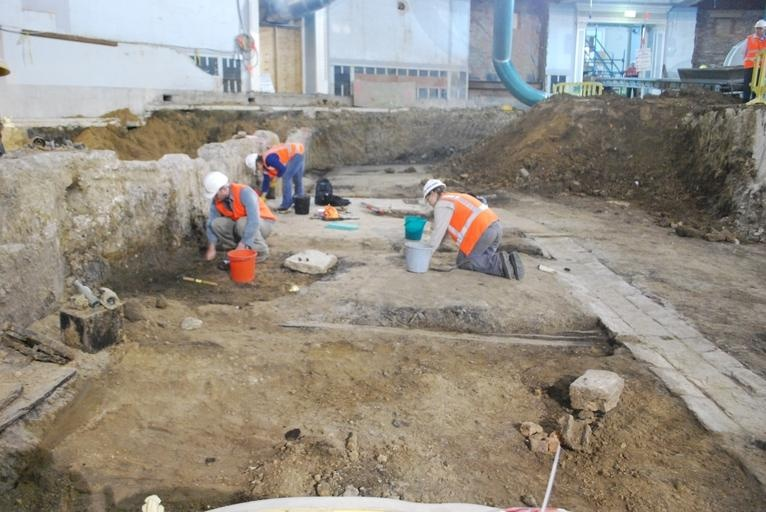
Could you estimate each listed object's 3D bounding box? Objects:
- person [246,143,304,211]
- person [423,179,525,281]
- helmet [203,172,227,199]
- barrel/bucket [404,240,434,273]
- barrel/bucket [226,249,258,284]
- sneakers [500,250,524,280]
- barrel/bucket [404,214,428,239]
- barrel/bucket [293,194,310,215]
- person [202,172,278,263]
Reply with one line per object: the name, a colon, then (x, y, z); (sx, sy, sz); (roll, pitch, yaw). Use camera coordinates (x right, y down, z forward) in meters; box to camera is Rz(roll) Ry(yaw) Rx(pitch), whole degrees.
person: (-1.560, -1.215, 9.246); (0.703, 0.978, 1.092); (0, 13, 31)
person: (1.030, -0.335, 7.041); (1.480, 0.920, 0.921); (23, 30, 34)
helmet: (-1.930, -0.816, 6.895); (0.267, 0.296, 0.260); (-14, 23, -36)
barrel/bucket: (0.420, 0.010, 6.878); (0.349, 0.257, 0.327); (3, 14, -1)
barrel/bucket: (-1.544, 0.106, 6.523); (0.368, 0.328, 0.355); (2, 8, 0)
sneakers: (1.463, 0.105, 6.773); (0.227, 0.335, 0.132); (-29, 10, 29)
barrel/bucket: (0.427, -0.377, 7.725); (0.333, 0.272, 0.326); (2, 7, 0)
barrel/bucket: (-1.258, -0.800, 9.129); (0.285, 0.238, 0.288); (2, 16, 0)
person: (-1.737, -0.494, 7.082); (0.798, 1.020, 0.877); (-1, 11, 9)
